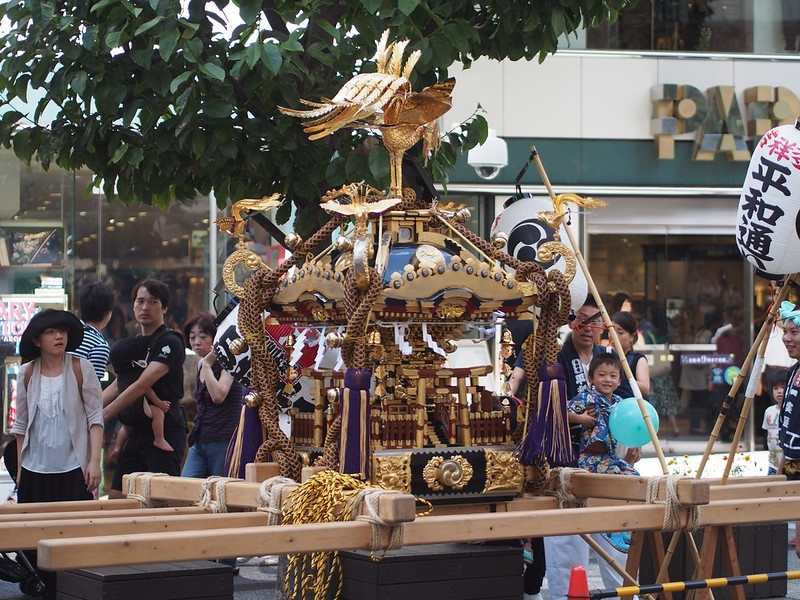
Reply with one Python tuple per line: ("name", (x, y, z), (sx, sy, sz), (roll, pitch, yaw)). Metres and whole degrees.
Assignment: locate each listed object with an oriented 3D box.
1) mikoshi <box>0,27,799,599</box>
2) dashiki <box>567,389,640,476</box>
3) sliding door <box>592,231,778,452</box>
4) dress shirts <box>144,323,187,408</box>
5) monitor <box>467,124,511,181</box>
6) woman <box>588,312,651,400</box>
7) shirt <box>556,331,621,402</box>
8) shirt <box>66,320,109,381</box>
("mikoshi", (-0.137, 0.010, 11.331), (3.381, 2.395, 3.382), (-2, 3, -4))
("dashiki", (1.375, 0.955, 11.857), (0.495, 0.739, 0.637), (-6, -16, 19))
("sliding door", (3.240, 0.481, 19.093), (2.204, 4.120, 2.129), (-1, -1, 7))
("dress shirts", (-1.791, 0.501, 12.857), (0.245, 0.536, 0.400), (-3, -2, -9))
("monitor", (0.870, -1.390, 15.780), (0.467, 0.573, 0.475), (-1, -1, 10))
("woman", (1.667, 0.652, 12.633), (0.471, 1.099, 0.431), (0, 4, 6))
("shirt", (1.347, 0.502, 11.910), (0.417, 0.518, 0.191), (11, -36, -14))
("shirt", (-2.340, 0.386, 12.356), (0.369, 0.287, 0.200), (19, -4, 20))
